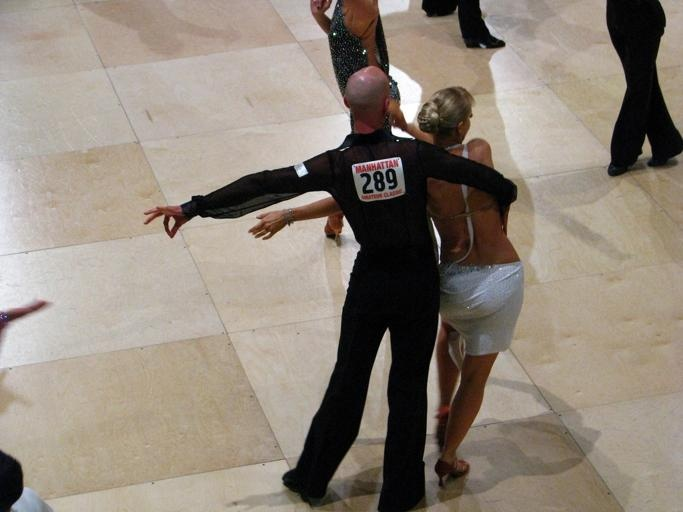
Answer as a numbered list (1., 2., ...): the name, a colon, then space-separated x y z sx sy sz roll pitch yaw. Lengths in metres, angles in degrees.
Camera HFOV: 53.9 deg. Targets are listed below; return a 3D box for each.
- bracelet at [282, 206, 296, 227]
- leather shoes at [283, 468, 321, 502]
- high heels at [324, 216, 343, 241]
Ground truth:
1. bracelet: -0.293 -0.221 3.707 0.027 0.083 0.071 -5 3 38
2. leather shoes: -0.239 1.258 3.657 0.210 0.158 0.103 40 94 0
3. high heels: -0.060 -0.212 5.017 0.087 0.189 0.098 16 46 14
